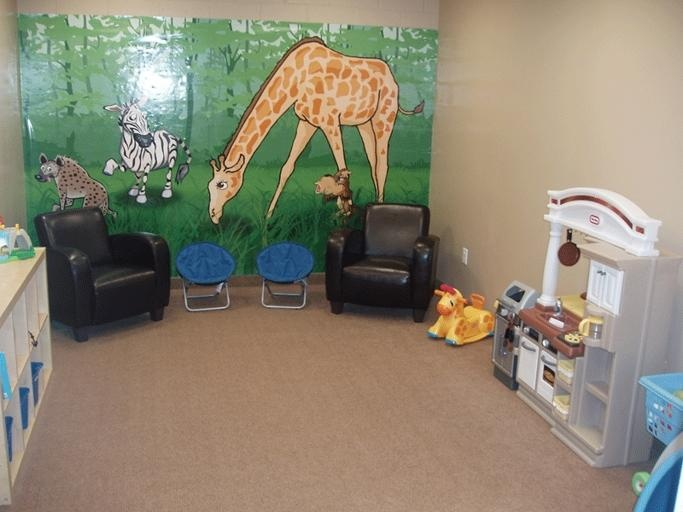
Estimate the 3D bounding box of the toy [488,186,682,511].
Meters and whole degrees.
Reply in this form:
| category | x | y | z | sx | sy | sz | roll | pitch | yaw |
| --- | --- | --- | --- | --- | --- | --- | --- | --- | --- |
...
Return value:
| category | x | y | z | sx | sy | sz | roll | pitch | yaw |
| --- | --- | --- | --- | --- | --- | --- | --- | --- | --- |
| toy | 1.500 | 0.609 | 3.135 | 0.602 | 1.966 | 1.390 | -2 | 15 | -9 |

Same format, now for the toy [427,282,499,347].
| category | x | y | z | sx | sy | sz | roll | pitch | yaw |
| --- | --- | --- | --- | --- | --- | --- | --- | --- | --- |
| toy | 1.072 | 0.494 | 4.713 | 0.586 | 0.493 | 0.456 | -7 | 10 | -36 |
